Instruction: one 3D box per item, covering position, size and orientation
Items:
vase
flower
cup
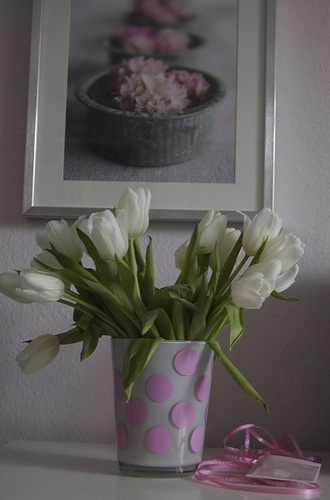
[{"bbox_3d":[-0.002,0.185,0.555,0.133,0.139,0.126,15,-19,-38],"label":"vase"},{"bbox_3d":[-0.030,0.035,0.546,0.305,0.200,0.268,-1,-2,-20],"label":"flower"},{"bbox_3d":[-0.009,0.189,0.570,0.137,0.152,0.139,1,-12,0],"label":"cup"}]
